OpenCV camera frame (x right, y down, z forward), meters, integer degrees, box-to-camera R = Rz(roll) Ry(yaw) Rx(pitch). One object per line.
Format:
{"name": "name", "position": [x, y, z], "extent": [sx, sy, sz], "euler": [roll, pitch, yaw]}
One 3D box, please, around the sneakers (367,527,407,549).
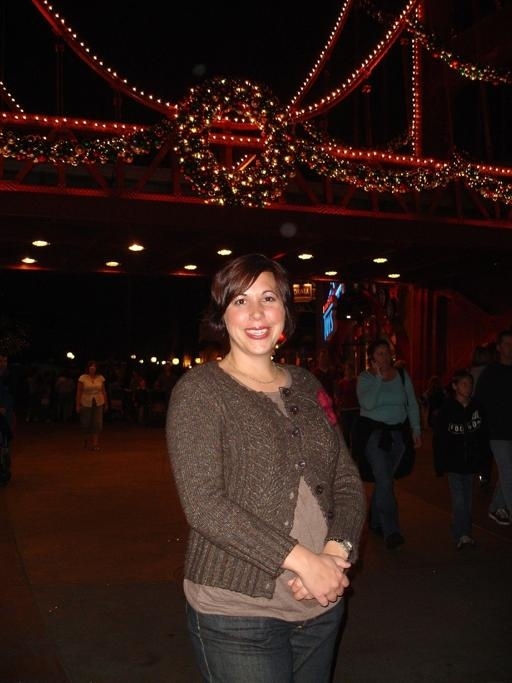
{"name": "sneakers", "position": [1.482, 2.188, 6.533], "extent": [0.150, 0.279, 0.422], "euler": [0, -30, -22]}

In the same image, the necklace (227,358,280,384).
{"name": "necklace", "position": [0.003, 0.076, 1.676], "extent": [0.092, 0.055, 0.112], "euler": [6, 15, -18]}

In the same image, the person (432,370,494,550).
{"name": "person", "position": [2.254, 1.271, 6.568], "extent": [0.583, 1.869, 0.535], "euler": [6, -4, -43]}

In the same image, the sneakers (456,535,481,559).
{"name": "sneakers", "position": [2.200, 2.145, 6.150], "extent": [0.137, 0.137, 0.326], "euler": [-2, -35, 8]}

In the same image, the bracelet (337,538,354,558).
{"name": "bracelet", "position": [0.226, 0.511, 1.467], "extent": [0.018, 0.036, 0.048], "euler": [-18, 20, -41]}
